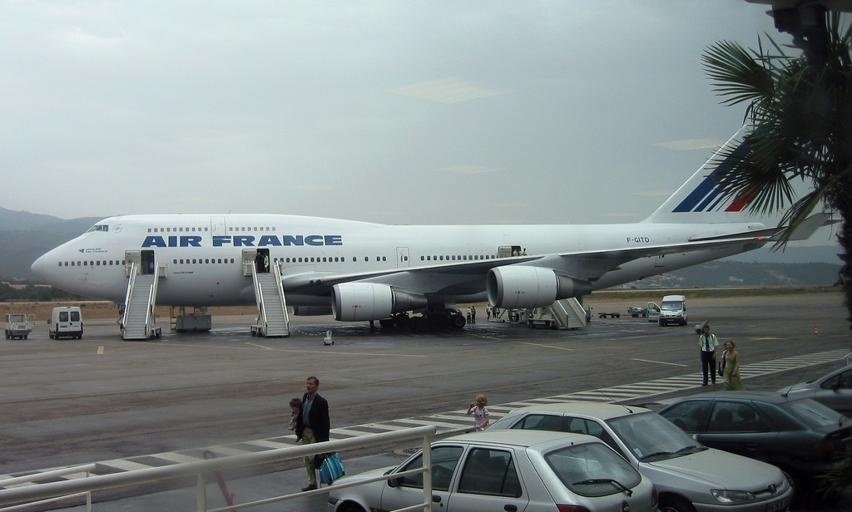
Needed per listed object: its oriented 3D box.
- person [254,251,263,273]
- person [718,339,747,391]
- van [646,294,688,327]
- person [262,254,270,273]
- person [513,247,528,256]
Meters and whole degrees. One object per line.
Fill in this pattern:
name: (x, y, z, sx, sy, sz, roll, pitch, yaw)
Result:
person: (-9.767, 0.252, 40.997, 0.656, 1.232, 0.455, -2, -6, -30)
person: (9.248, 3.336, 21.372, 0.504, 1.494, 1.005, -7, -5, 20)
van: (17.196, 3.834, 49.685, 2.456, 1.419, 3.638, -2, -6, 23)
person: (-9.336, 0.350, 41.010, 0.520, 1.037, 0.137, -9, -6, 42)
person: (5.871, -0.388, 43.862, 0.779, 0.618, 0.763, 0, -3, -8)
